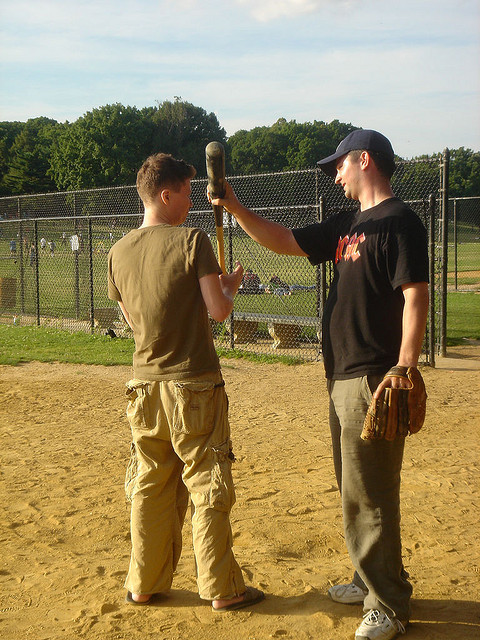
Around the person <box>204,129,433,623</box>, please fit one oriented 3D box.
[{"bbox_3d":[0.465,0.177,2.963,0.304,1.821,0.826,-3,6,-21],"label":"person"}]

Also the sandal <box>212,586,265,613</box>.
[{"bbox_3d":[-0.006,1.101,3.019,0.215,0.102,0.079,-12,11,-37],"label":"sandal"}]

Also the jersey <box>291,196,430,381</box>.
[{"bbox_3d":[0.449,-0.128,2.946,0.285,0.687,0.657,5,-3,-37],"label":"jersey"}]

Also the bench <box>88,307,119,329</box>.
[{"bbox_3d":[-2.295,0.024,12.798,0.351,0.382,0.093,-1,-23,1],"label":"bench"}]

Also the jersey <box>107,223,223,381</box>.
[{"bbox_3d":[-0.323,-0.046,3.004,0.505,0.665,0.341,-11,-8,6],"label":"jersey"}]

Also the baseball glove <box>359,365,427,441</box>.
[{"bbox_3d":[0.546,0.300,2.621,0.193,0.277,0.110,-3,14,-18],"label":"baseball glove"}]
